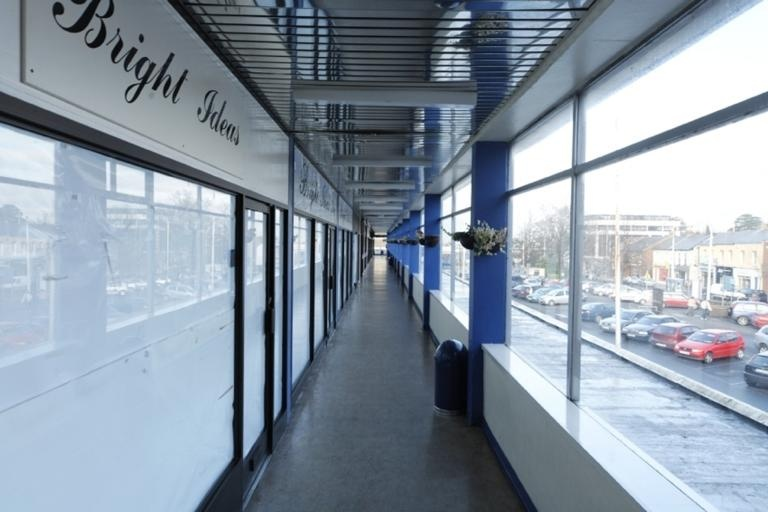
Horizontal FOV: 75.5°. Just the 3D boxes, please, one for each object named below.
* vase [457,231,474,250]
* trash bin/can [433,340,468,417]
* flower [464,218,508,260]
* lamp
[{"bbox_3d":[0.829,-0.168,5.075,0.136,0.124,0.160,-1,-7,0],"label":"vase"},{"bbox_3d":[0.729,1.301,5.389,0.342,0.722,0.303,2,11,9],"label":"trash bin/can"},{"bbox_3d":[1.065,-0.183,5.151,0.358,0.351,0.456,4,11,19],"label":"flower"},{"bbox_3d":[0.039,-1.301,5.360,1.508,0.667,2.917,1,11,1],"label":"lamp"}]
